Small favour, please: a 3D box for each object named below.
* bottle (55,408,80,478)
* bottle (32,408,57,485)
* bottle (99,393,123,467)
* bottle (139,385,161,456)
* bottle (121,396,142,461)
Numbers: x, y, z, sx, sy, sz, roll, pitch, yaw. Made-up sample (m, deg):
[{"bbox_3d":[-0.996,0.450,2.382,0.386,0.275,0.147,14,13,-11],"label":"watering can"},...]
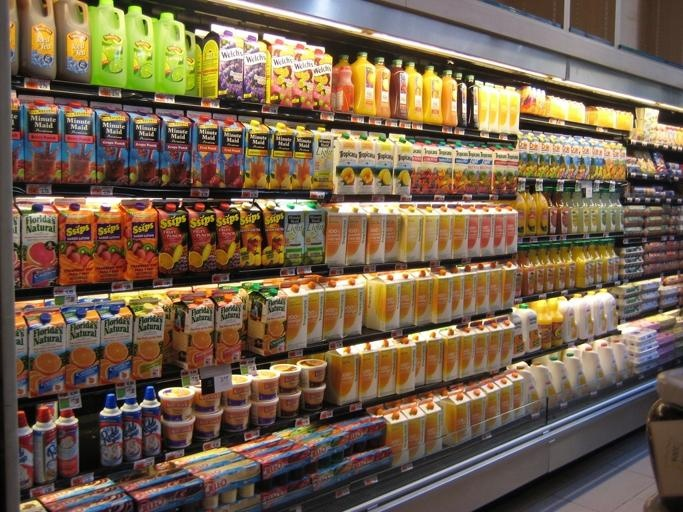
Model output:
[{"bbox_3d":[-1.352,0.920,2.678,0.123,0.309,0.094,-9,5,-40],"label":"bottle"},{"bbox_3d":[-1.441,0.917,2.617,0.118,0.353,0.083,-9,5,-41],"label":"bottle"},{"bbox_3d":[-1.199,0.893,2.798,0.128,0.317,0.158,-7,4,-25],"label":"bottle"},{"bbox_3d":[-1.014,0.880,2.886,0.123,0.301,0.085,-8,4,-27],"label":"bottle"},{"bbox_3d":[-1.092,0.905,2.815,0.101,0.277,0.069,-7,4,-17],"label":"bottle"}]
